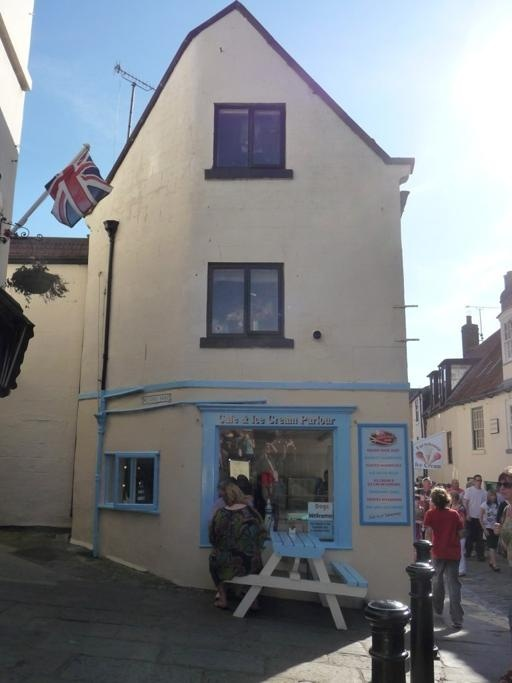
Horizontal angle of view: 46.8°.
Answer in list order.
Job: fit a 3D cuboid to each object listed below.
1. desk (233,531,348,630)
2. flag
[{"bbox_3d":[0.421,2.675,7.456,1.357,1.022,1.602,7,8,2],"label":"desk"},{"bbox_3d":[-2.663,-2.398,8.896,1.155,1.838,0.135,-6,-36,3],"label":"flag"}]
